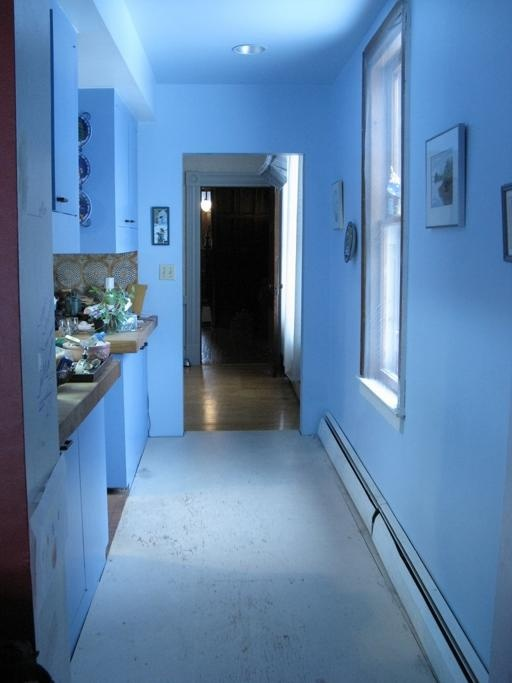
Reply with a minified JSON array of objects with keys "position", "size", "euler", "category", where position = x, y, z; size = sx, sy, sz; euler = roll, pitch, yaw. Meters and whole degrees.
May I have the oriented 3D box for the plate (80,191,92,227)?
[{"position":[-0.984,-0.765,2.872],"size":[0.039,0.209,0.112],"euler":[7,8,41],"category":"plate"}]
